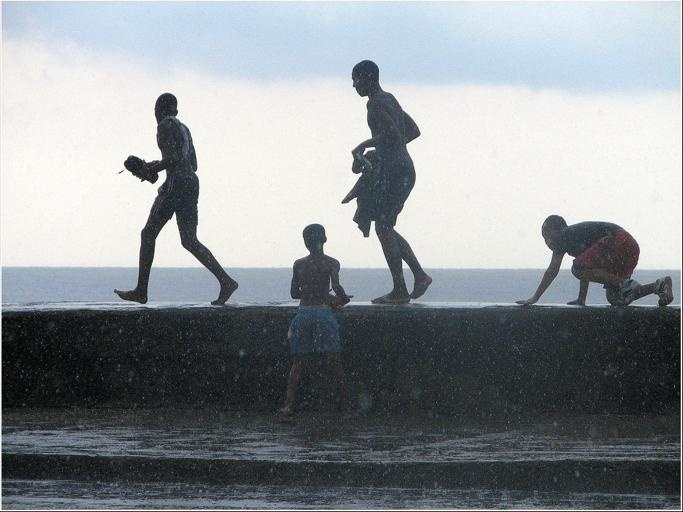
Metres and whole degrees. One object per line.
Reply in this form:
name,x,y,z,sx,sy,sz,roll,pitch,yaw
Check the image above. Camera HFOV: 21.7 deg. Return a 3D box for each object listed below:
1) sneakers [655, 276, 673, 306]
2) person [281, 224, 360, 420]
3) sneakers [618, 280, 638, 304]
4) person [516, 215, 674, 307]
sneakers,3.534,0.389,19.518,0.132,0.394,0.164,-1,-2,-35
person,-0.259,0.691,19.214,0.699,2.094,0.548,2,6,-2
sneakers,3.183,0.393,19.697,0.217,0.295,0.155,3,6,10
person,2.901,0.041,20.037,1.514,1.176,0.932,-4,-5,31
